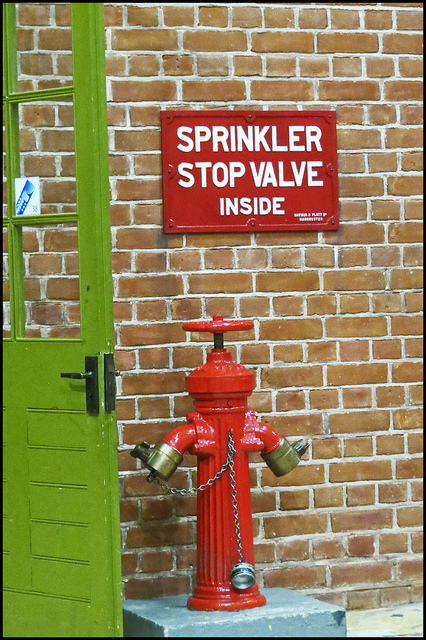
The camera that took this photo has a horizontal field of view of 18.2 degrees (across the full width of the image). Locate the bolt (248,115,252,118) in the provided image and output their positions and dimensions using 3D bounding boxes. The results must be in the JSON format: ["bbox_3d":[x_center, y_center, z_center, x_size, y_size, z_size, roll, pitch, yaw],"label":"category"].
[{"bbox_3d":[0.135,-0.776,5.008,0.008,0.014,0.007,-1,8,-7],"label":"bolt"}]

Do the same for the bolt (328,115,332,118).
[{"bbox_3d":[0.439,-0.786,5.080,0.011,0.009,0.004,-1,-4,-17],"label":"bolt"}]

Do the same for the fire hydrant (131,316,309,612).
[{"bbox_3d":[0.025,0.503,4.753,0.598,1.062,0.462,-2,-3,3],"label":"fire hydrant"}]

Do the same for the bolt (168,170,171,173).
[{"bbox_3d":[-0.163,-0.559,4.953,0.010,0.010,0.001,0,-4,-23],"label":"bolt"}]

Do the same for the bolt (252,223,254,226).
[{"bbox_3d":[0.146,-0.363,5.018,0.008,0.010,0.002,0,-4,-26],"label":"bolt"}]
